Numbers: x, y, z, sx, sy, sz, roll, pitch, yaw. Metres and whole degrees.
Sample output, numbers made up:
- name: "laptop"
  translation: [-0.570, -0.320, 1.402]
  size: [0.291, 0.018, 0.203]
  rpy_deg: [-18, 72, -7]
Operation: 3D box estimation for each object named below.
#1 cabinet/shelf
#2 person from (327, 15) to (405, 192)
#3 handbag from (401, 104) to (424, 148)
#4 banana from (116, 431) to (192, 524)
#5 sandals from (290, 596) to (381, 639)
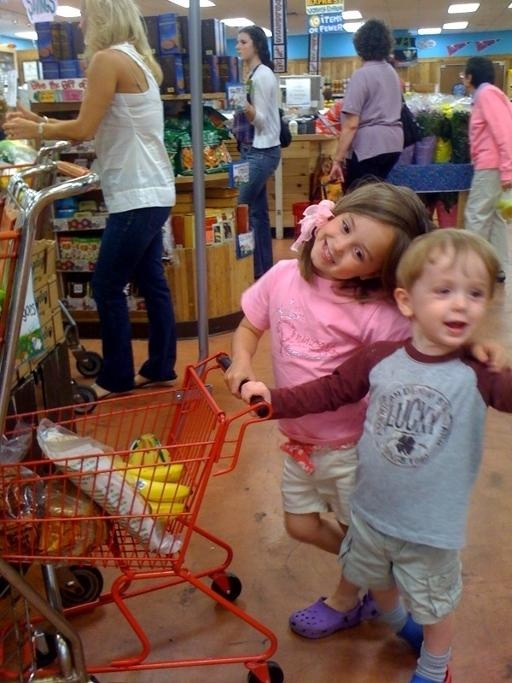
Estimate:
- name: "cabinet/shelf"
  translation: [-1.020, -0.988, 4.051]
  size: [1.756, 1.723, 1.643]
  rpy_deg: [-1, 17, -9]
- name: "person"
  translation: [0.835, -1.784, 4.008]
  size: [0.513, 1.119, 0.342]
  rpy_deg: [-5, 19, -2]
- name: "handbag"
  translation: [1.242, -1.739, 4.298]
  size: [0.144, 0.316, 0.391]
  rpy_deg: [1, 19, 17]
- name: "banana"
  translation: [-0.184, 0.268, 1.087]
  size: [0.145, 0.182, 0.212]
  rpy_deg: [3, 2, -15]
- name: "sandals"
  translation: [0.195, 0.657, 1.330]
  size: [0.218, 0.076, 0.076]
  rpy_deg: [-4, 9, -17]
